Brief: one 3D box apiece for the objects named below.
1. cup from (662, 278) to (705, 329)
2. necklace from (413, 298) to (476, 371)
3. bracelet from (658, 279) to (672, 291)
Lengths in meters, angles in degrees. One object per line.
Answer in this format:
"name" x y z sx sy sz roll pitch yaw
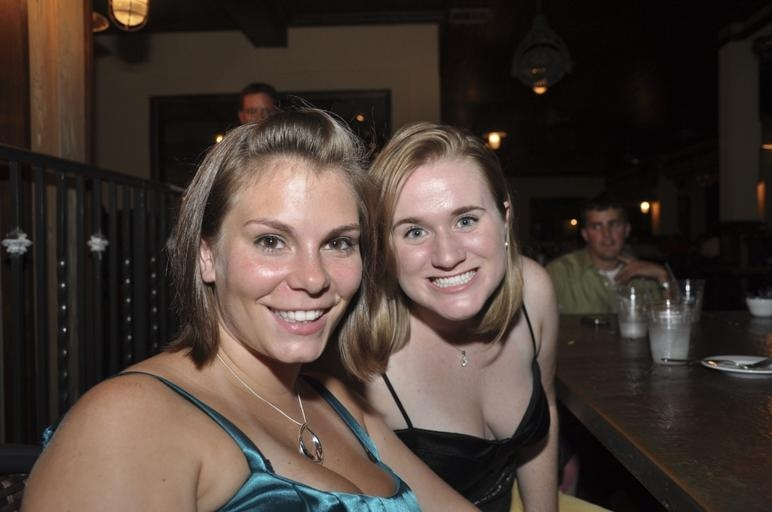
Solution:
"cup" 1.684 0.270 3.981 0.238 0.299 0.266 -1 -8 0
"necklace" 0.283 0.380 3.439 0.220 0.176 0.223 -11 47 -23
"bracelet" 1.838 0.183 4.617 0.056 0.066 0.054 11 8 -12
